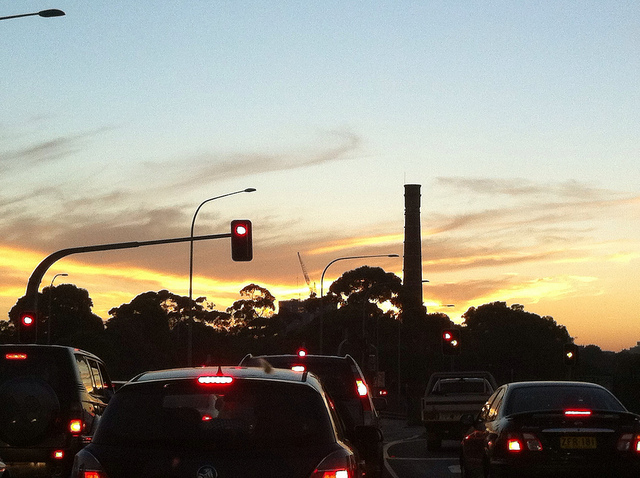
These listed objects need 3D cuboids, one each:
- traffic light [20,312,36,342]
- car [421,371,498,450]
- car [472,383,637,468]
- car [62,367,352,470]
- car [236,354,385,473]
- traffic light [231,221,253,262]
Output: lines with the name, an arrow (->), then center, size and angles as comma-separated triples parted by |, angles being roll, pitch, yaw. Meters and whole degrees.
traffic light -> -6.836, 2.063, 24.826 | 0.368, 0.665, 0.571 | 2, -9, -15
car -> 3.381, 4.306, 26.610 | 1.592, 1.295, 2.972 | 0, -3, 4
car -> 3.380, 2.730, 15.379 | 2.171, 1.213, 1.733 | -2, -9, 9
car -> -0.750, 1.668, 10.186 | 1.206, 0.859, 1.865 | 0, 1, 8
car -> 0.095, 2.265, 15.075 | 1.653, 1.426, 2.812 | 0, 0, 5
traffic light -> -2.071, 0.030, 28.340 | 0.508, 1.099, 0.645 | 1, -9, -9
